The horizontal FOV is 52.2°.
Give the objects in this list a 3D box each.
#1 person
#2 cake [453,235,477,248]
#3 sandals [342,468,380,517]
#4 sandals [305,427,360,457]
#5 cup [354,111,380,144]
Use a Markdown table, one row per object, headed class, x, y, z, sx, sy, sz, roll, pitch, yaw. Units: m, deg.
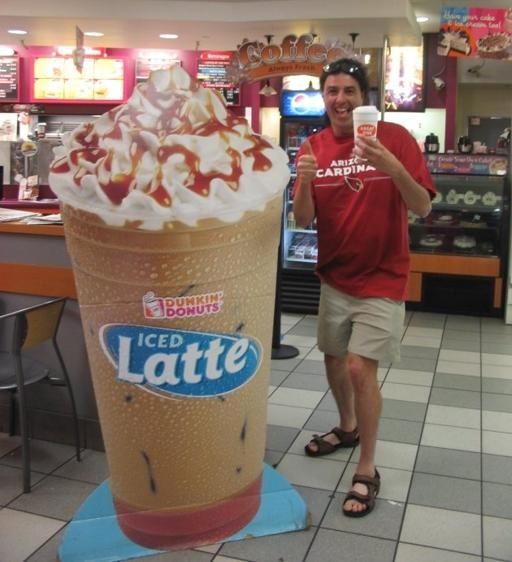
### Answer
| class | x | y | z | sx | sy | sz | roll | pitch | yaw |
| --- | --- | --- | --- | --- | --- | --- | --- | --- | --- |
| person | 0.402 | -0.012 | 2.126 | 0.546 | 1.708 | 0.653 | -1 | 9 | -10 |
| cake | 2.134 | -0.395 | 5.327 | 0.160 | 0.137 | 0.097 | 4 | -5 | 31 |
| sandals | 0.427 | 0.802 | 2.063 | 0.125 | 0.086 | 0.323 | 7 | 14 | 21 |
| sandals | 0.360 | 0.760 | 2.463 | 0.293 | 0.098 | 0.102 | -1 | 4 | -21 |
| cup | 0.369 | -0.531 | 1.759 | 0.082 | 0.116 | 0.090 | 0 | 9 | 0 |
